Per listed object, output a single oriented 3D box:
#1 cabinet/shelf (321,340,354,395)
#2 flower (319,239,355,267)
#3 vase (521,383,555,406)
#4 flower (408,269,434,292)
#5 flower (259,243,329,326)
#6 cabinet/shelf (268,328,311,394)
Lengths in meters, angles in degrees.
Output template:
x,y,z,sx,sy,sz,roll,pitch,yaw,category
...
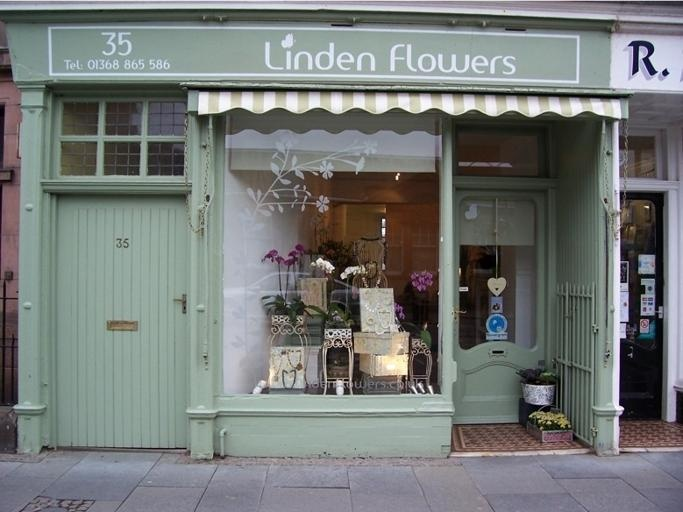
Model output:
x,y,z,sx,sy,sz,roll,pitch,yaw,category
-0.037,1.387,8.784,0.521,0.829,0.557,-1,-4,7,cabinet/shelf
-0.050,-0.048,8.907,0.359,0.164,0.357,22,22,40,flower
2.626,1.855,9.200,0.285,0.199,0.329,5,-17,-8,vase
1.026,0.328,8.869,0.260,0.274,0.259,-4,6,-40,flower
-0.576,0.459,8.958,0.900,1.085,0.483,2,5,-8,flower
-0.690,1.396,9.082,0.710,1.083,0.583,1,-14,-2,cabinet/shelf
